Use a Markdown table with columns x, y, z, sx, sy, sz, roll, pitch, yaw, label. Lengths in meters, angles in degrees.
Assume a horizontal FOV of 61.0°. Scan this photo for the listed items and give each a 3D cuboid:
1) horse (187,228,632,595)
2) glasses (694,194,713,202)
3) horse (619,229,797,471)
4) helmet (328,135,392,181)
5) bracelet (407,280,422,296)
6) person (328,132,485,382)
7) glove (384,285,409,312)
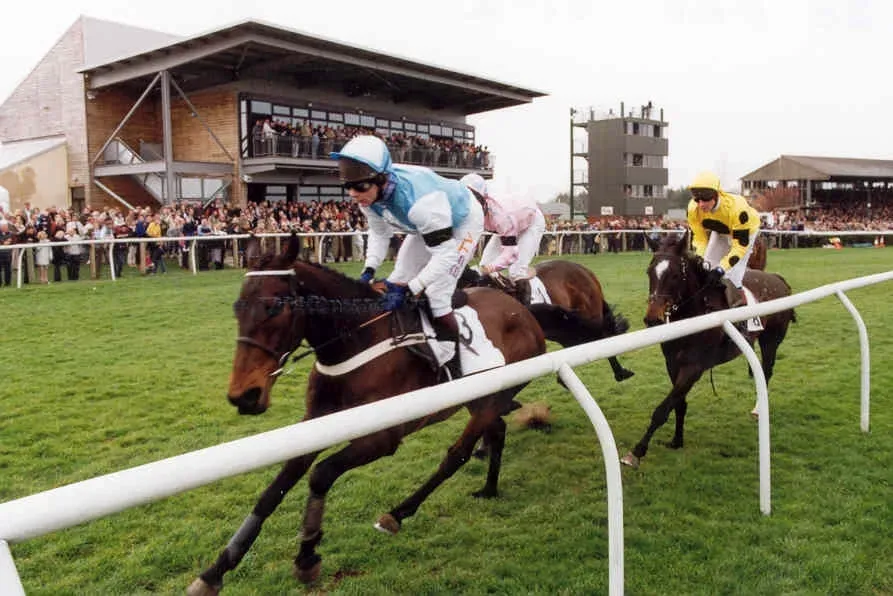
| x | y | z | sx | sy | sz | roll | pitch | yaw | label |
| --- | --- | --- | --- | --- | --- | --- | --- | --- | --- |
| -0.336 | 0.405 | 3.506 | 1.879 | 1.608 | 0.597 | -13 | 0 | -44 | horse |
| 1.746 | -0.665 | 5.115 | 0.129 | 0.050 | 0.076 | -12 | 0 | 27 | glasses |
| 1.906 | 0.267 | 5.207 | 0.497 | 1.522 | 2.488 | 11 | 13 | 42 | horse |
| -0.407 | -0.670 | 3.634 | 0.240 | 0.179 | 0.337 | 16 | 25 | 31 | helmet |
| -0.151 | -0.047 | 3.579 | 0.065 | 0.047 | 0.065 | 5 | -1 | -22 | bracelet |
| -0.143 | -0.214 | 3.930 | 0.855 | 1.232 | 0.572 | -19 | 22 | -34 | person |
| -0.243 | -0.003 | 3.609 | 0.133 | 0.096 | 0.051 | -30 | 8 | -24 | glove |
